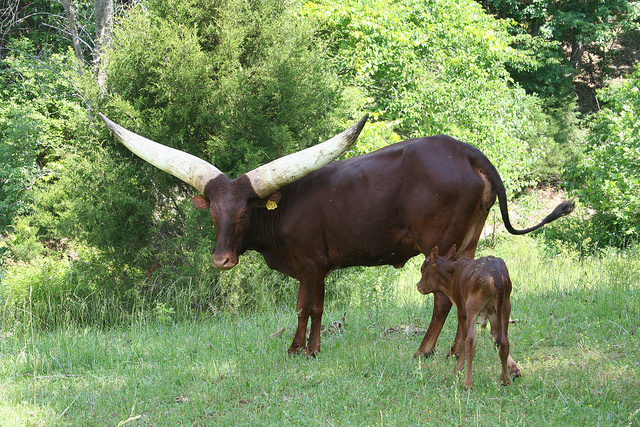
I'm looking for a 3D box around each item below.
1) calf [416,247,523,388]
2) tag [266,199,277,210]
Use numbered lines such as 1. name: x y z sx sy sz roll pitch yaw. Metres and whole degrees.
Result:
1. calf: 2.633 1.799 12.096 0.923 2.240 2.741 4 1 -20
2. tag: -0.963 -0.193 12.574 0.159 0.220 0.021 -7 -3 -6
